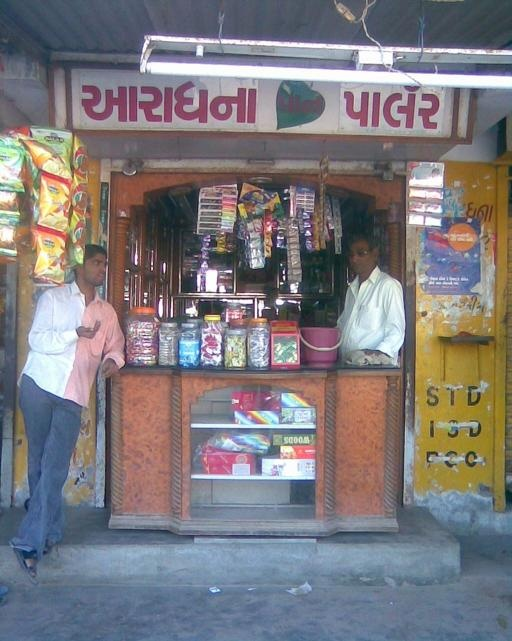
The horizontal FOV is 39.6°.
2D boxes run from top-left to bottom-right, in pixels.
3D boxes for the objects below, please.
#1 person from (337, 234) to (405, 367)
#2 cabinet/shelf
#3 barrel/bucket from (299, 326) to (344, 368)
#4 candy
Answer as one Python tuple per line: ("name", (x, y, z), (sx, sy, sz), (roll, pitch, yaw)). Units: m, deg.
("person", (0.698, -0.122, 4.241), (0.409, 0.767, 0.816), (1, -2, 7))
("cabinet/shelf", (-0.015, 0.698, 3.875), (1.515, 0.878, 0.562), (1, -5, -6))
("barrel/bucket", (0.356, 0.145, 3.916), (0.207, 0.185, 0.204), (0, 1, 0))
("candy", (-0.232, 0.126, 3.790), (0.943, 0.266, 0.279), (1, -2, 7))
